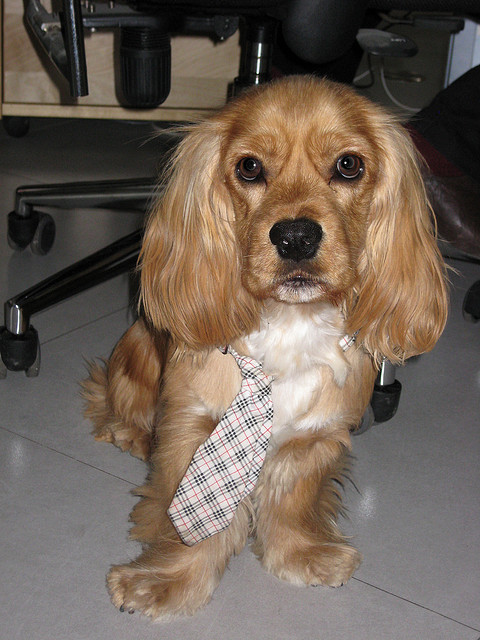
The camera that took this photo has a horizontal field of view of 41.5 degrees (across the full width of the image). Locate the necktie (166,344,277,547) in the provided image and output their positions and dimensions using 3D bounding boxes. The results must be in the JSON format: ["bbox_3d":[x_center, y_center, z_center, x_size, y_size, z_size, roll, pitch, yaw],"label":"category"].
[{"bbox_3d":[-0.025,0.243,1.100,0.148,0.347,0.028,22,14,3],"label":"necktie"}]

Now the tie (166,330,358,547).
[{"bbox_3d":[0.012,0.176,1.135,0.210,0.036,0.434,24,98,-3],"label":"tie"}]
